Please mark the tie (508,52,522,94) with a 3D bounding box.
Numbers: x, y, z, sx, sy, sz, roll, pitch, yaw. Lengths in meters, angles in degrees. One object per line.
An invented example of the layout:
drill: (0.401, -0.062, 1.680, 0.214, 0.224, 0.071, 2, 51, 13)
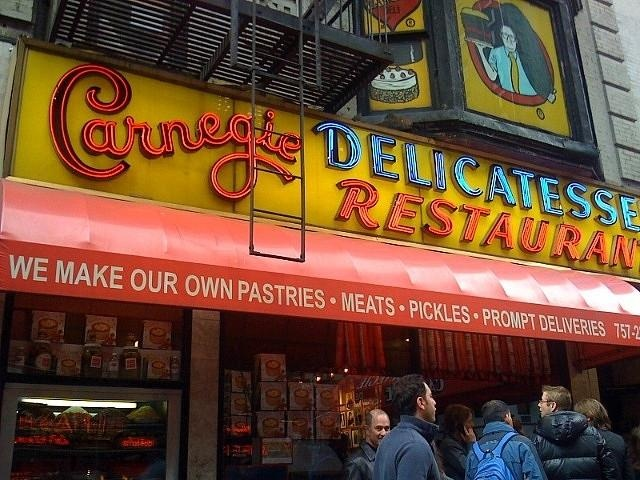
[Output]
tie: (3.442, -2.937, 10.839, 0.228, 0.809, 0.095, 10, -25, -30)
